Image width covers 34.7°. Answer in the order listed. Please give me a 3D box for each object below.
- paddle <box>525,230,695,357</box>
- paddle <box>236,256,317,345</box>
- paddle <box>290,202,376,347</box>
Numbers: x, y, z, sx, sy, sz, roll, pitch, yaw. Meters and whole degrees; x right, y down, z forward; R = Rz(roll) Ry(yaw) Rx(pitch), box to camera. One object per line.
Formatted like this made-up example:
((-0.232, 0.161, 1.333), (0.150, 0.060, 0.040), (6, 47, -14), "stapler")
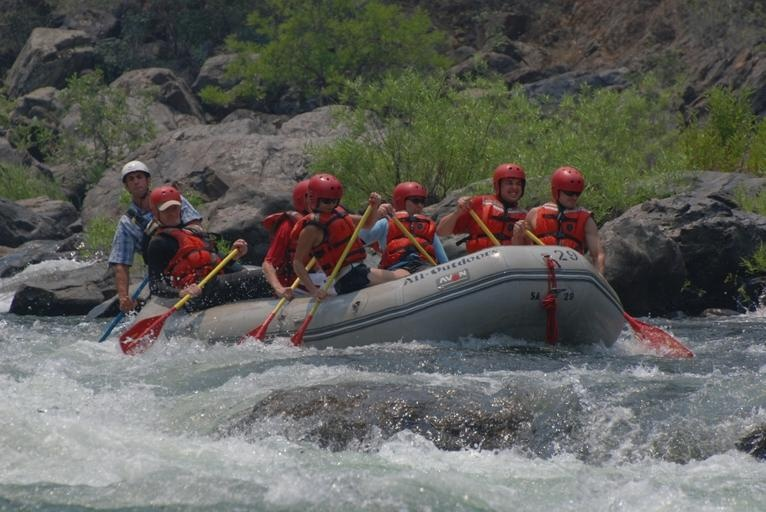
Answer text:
((6.465, 1.092, 35.154), (4.749, 0.520, 0.373), (43, -26, 5), "paddle")
((-2.918, 1.330, 34.773), (0.443, 3.045, 0.309), (41, -7, -7), "paddle")
((-1.391, 0.636, 34.537), (0.654, 4.696, 0.368), (34, -4, -6), "paddle")
